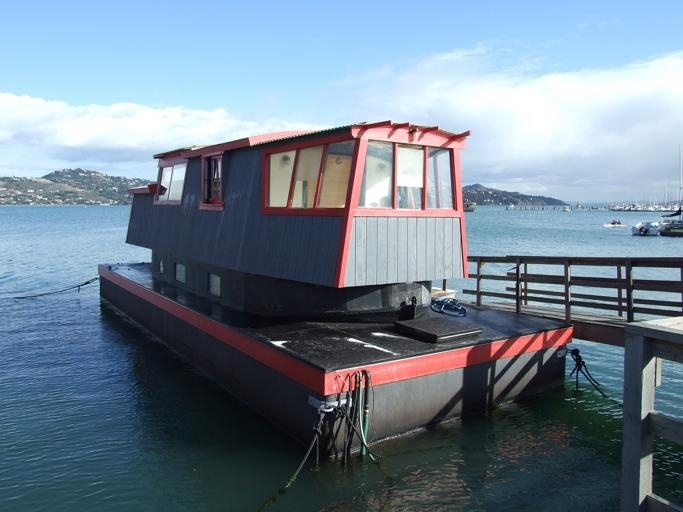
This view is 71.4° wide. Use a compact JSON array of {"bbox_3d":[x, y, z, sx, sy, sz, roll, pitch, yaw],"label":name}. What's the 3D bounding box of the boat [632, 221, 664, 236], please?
[{"bbox_3d":[59.644,-5.010,90.901,5.207,1.613,3.497,-4,10,-17],"label":"boat"}]
